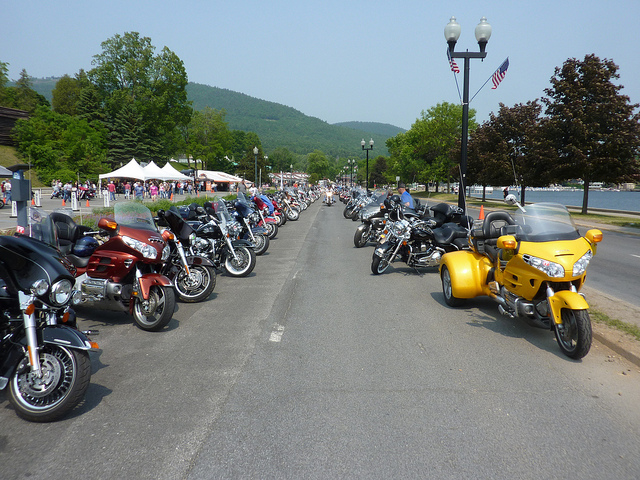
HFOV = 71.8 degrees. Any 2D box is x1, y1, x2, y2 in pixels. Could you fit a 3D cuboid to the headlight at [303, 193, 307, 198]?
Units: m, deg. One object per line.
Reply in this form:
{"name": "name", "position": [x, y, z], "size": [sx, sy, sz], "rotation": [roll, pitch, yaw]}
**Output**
{"name": "headlight", "position": [-1.480, -4.531, 45.609], "size": [0.304, 0.592, 0.537], "rotation": [4, 8, -4]}

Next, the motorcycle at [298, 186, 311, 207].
{"name": "motorcycle", "position": [-1.198, -3.989, 43.159], "size": [1.153, 1.544, 2.277], "rotation": [-16, 14, -4]}

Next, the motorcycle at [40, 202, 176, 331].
{"name": "motorcycle", "position": [-3.623, 0.265, 7.284], "size": [3.045, 1.916, 1.202], "rotation": [9, 2, 22]}

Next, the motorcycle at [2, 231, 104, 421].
{"name": "motorcycle", "position": [-2.910, 0.892, 4.715], "size": [0.887, 1.888, 1.023], "rotation": [-5, 9, -32]}

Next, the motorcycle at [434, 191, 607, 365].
{"name": "motorcycle", "position": [3.320, 0.384, 7.402], "size": [1.670, 2.124, 3.575], "rotation": [0, 9, -7]}

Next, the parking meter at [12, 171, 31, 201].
{"name": "parking meter", "position": [-6.268, -1.063, 9.324], "size": [0.354, 0.743, 0.286], "rotation": [-3, -2, -18]}

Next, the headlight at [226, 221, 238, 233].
{"name": "headlight", "position": [-2.038, -0.307, 10.243], "size": [0.078, 0.257, 0.305], "rotation": [5, 10, 35]}

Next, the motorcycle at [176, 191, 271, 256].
{"name": "motorcycle", "position": [-2.868, -0.671, 13.914], "size": [2.901, 1.832, 1.536], "rotation": [12, 14, 26]}

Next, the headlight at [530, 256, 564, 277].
{"name": "headlight", "position": [3.039, 0.356, 5.957], "size": [0.280, 0.123, 0.187], "rotation": [15, 20, 36]}

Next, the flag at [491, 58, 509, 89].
{"name": "flag", "position": [6.670, -6.181, 16.502], "size": [0.484, 1.078, 1.220], "rotation": [3, 9, 21]}

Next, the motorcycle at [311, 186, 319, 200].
{"name": "motorcycle", "position": [-0.488, -7.393, 67.074], "size": [1.551, 1.858, 2.704], "rotation": [-5, -3, -2]}

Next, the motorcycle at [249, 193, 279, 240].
{"name": "motorcycle", "position": [-1.999, -0.747, 15.545], "size": [0.796, 1.063, 1.561], "rotation": [-12, 20, -3]}

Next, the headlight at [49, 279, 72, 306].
{"name": "headlight", "position": [-2.700, 0.540, 4.623], "size": [0.215, 0.246, 0.191], "rotation": [2, -7, 9]}

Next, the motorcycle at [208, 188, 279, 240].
{"name": "motorcycle", "position": [-2.622, -0.924, 16.274], "size": [1.867, 1.314, 1.281], "rotation": [5, 17, 14]}

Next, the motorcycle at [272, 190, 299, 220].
{"name": "motorcycle", "position": [-2.075, -1.865, 27.479], "size": [1.686, 1.243, 1.044], "rotation": [-3, 19, -7]}

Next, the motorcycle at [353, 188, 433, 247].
{"name": "motorcycle", "position": [2.399, -0.928, 16.573], "size": [1.346, 2.048, 3.608], "rotation": [19, 20, 30]}

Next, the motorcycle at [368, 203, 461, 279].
{"name": "motorcycle", "position": [2.466, -0.008, 10.731], "size": [2.751, 1.661, 1.527], "rotation": [-6, 22, -19]}

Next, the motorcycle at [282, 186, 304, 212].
{"name": "motorcycle", "position": [-1.771, -2.951, 32.350], "size": [1.197, 1.492, 2.171], "rotation": [-6, 11, -17]}

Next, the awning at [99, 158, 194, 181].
{"name": "awning", "position": [-16.156, -6.531, 42.924], "size": [4.314, 1.770, 4.464], "rotation": [3, 4, 36]}
